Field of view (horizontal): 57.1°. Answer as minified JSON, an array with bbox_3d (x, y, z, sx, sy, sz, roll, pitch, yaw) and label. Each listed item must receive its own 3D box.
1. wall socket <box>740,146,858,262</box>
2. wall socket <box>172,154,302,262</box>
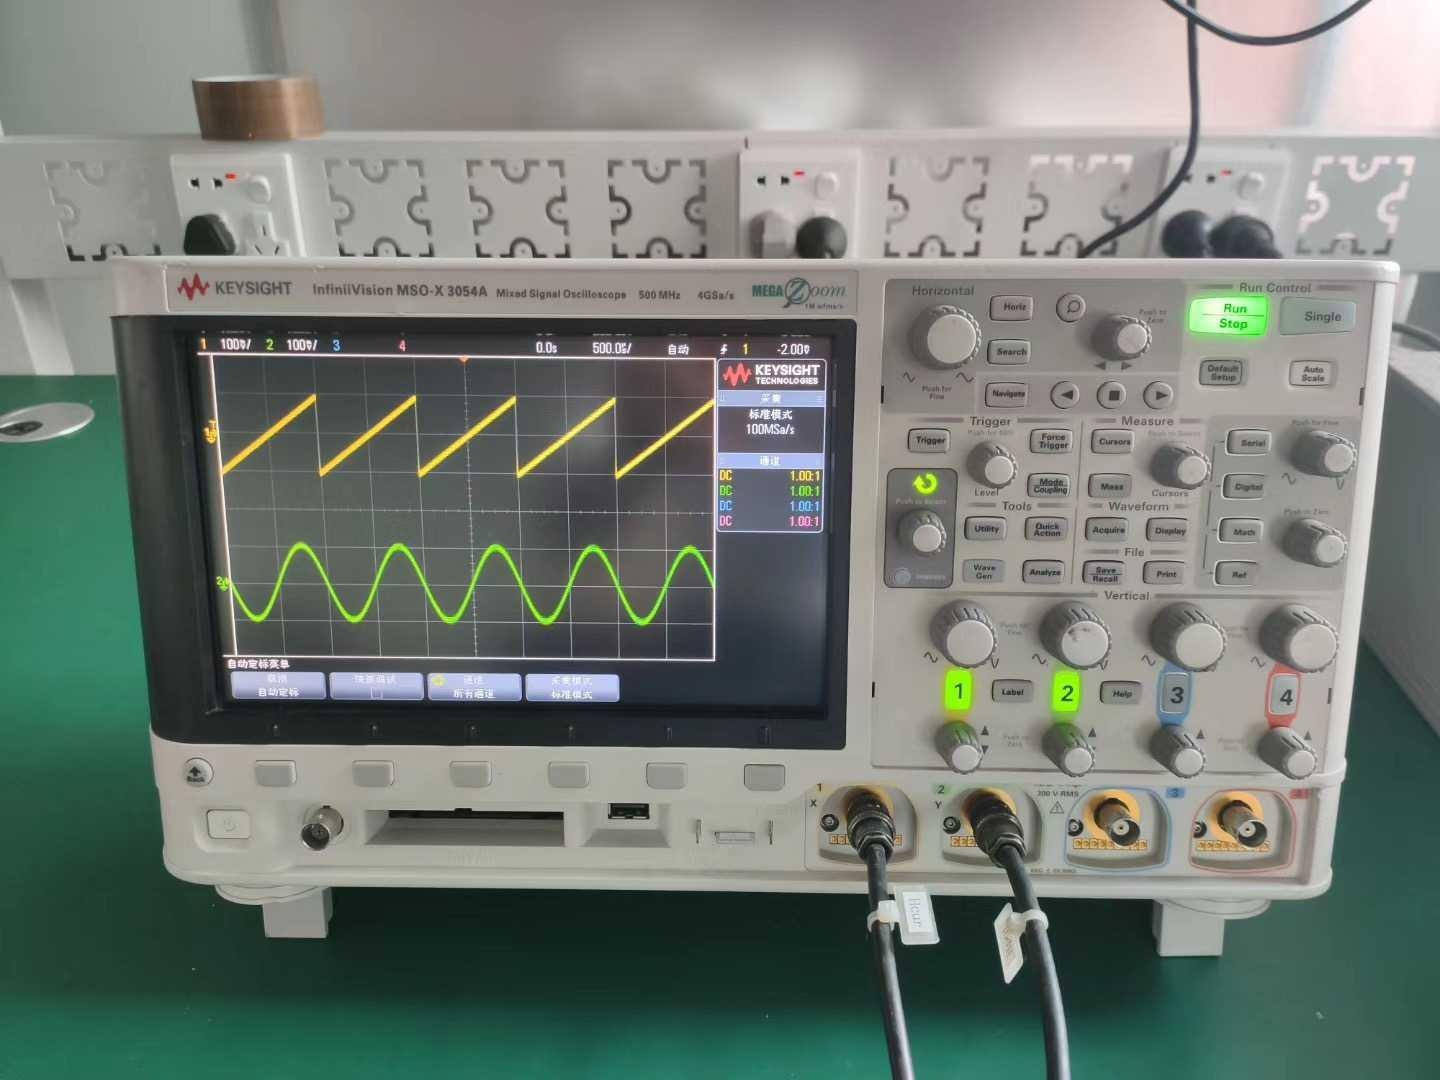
[{"bbox_3d":[0.111,-0.470,1.843,0.166,0.091,0.130,-1,-48,-2],"label":"wall socket"},{"bbox_3d":[-0.684,-0.478,1.877,0.177,0.079,0.128,-3,-48,0],"label":"wall socket"}]
